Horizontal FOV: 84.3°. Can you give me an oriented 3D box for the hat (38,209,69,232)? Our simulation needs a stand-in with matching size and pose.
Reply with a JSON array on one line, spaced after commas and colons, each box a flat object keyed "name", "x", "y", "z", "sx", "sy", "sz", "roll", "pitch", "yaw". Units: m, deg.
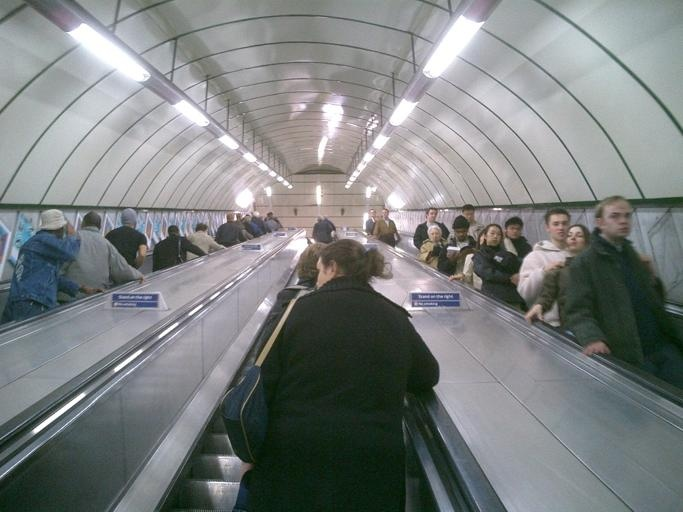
[{"name": "hat", "x": -3.803, "y": -0.475, "z": 5.030, "sx": 0.245, "sy": 0.187, "sz": 0.327, "roll": 2, "pitch": 7, "yaw": 16}]

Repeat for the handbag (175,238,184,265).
[{"name": "handbag", "x": -4.031, "y": -0.128, "z": 9.333, "sx": 0.137, "sy": 0.611, "sz": 0.420, "roll": -2, "pitch": 9, "yaw": 0}]

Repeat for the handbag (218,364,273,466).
[{"name": "handbag", "x": -0.597, "y": 0.973, "z": 2.388, "sx": 0.245, "sy": 0.467, "sz": 0.467, "roll": -6, "pitch": 19, "yaw": -4}]

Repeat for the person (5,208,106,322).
[{"name": "person", "x": -3.855, "y": 0.098, "z": 4.836, "sx": 0.493, "sy": 1.307, "sz": 0.863, "roll": 4, "pitch": 14, "yaw": 17}]
